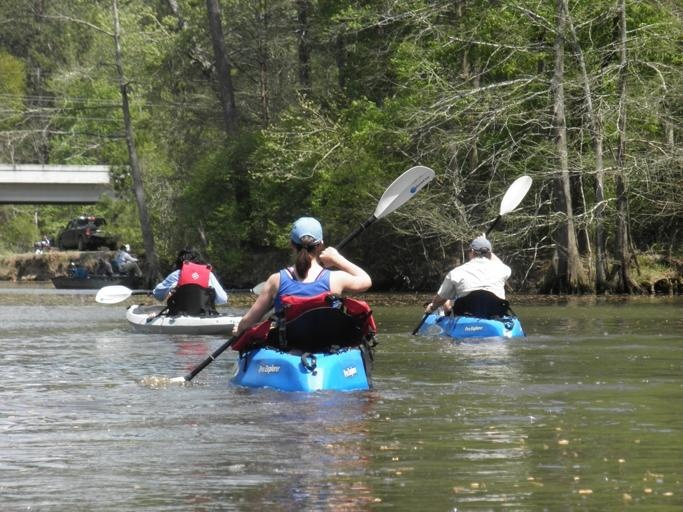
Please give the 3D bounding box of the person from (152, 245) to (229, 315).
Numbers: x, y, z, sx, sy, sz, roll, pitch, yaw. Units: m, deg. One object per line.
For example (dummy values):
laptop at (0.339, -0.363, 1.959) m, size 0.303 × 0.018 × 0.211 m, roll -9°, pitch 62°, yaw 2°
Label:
person at (-2.826, 0.403, 25.017) m, size 1.363 × 0.869 × 1.778 m, roll 6°, pitch 18°, yaw -7°

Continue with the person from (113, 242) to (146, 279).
person at (-7.923, 0.116, 48.270) m, size 0.817 × 1.075 × 1.290 m, roll -1°, pitch 1°, yaw -6°

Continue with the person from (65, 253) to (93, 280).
person at (-10.844, 0.412, 54.130) m, size 1.030 × 1.153 × 2.830 m, roll -2°, pitch -4°, yaw -16°

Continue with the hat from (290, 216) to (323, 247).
hat at (-0.487, -0.346, 18.133) m, size 0.417 × 0.381 × 0.306 m, roll -1°, pitch 1°, yaw -3°

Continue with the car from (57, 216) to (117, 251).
car at (-10.405, -0.928, 53.914) m, size 1.392 × 0.998 × 2.981 m, roll -2°, pitch 2°, yaw -29°

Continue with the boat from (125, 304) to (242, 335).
boat at (-3.273, 1.267, 25.334) m, size 2.593 × 0.426 × 0.833 m, roll 1°, pitch -5°, yaw 36°

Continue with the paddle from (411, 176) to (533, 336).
paddle at (3.267, -0.202, 31.409) m, size 0.605 × 5.280 × 0.245 m, roll 44°, pitch -9°, yaw -21°

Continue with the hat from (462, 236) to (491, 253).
hat at (2.442, -0.189, 22.699) m, size 0.304 × 0.233 × 0.449 m, roll 3°, pitch 9°, yaw 4°

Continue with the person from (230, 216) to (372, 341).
person at (-0.524, 0.211, 18.280) m, size 1.725 × 1.499 × 0.928 m, roll -1°, pitch 1°, yaw -9°

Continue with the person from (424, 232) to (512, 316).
person at (2.284, 0.387, 22.716) m, size 1.240 × 1.398 × 0.851 m, roll -1°, pitch 1°, yaw 4°
